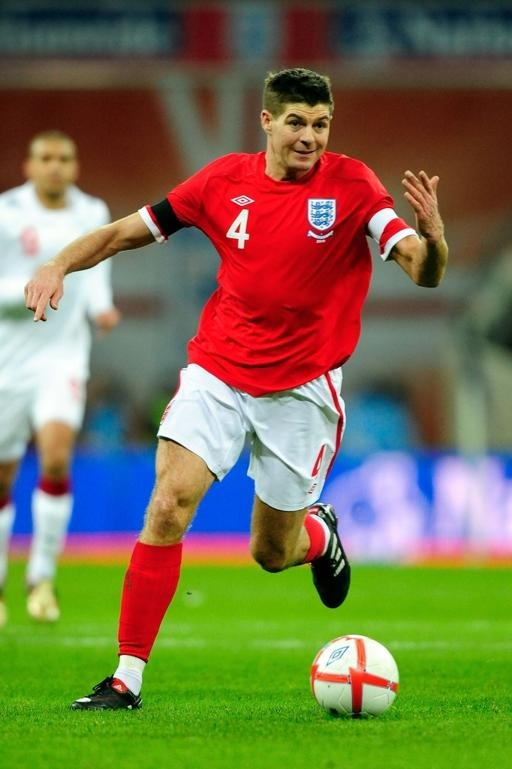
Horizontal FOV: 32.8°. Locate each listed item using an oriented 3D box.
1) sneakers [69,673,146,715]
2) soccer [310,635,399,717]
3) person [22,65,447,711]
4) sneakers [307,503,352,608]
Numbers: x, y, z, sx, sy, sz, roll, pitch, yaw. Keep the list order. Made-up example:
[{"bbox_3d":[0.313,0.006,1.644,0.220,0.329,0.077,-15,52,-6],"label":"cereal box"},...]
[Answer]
[{"bbox_3d":[-0.388,0.805,2.268,0.202,0.076,0.071,4,-4,-18],"label":"sneakers"},{"bbox_3d":[0.253,0.752,2.279,0.215,0.140,0.219,2,39,2],"label":"soccer"},{"bbox_3d":[-0.117,0.129,2.777,1.250,1.979,0.867,-29,49,-30],"label":"person"},{"bbox_3d":[0.331,0.662,3.343,0.148,0.404,0.192,-4,26,19],"label":"sneakers"}]
